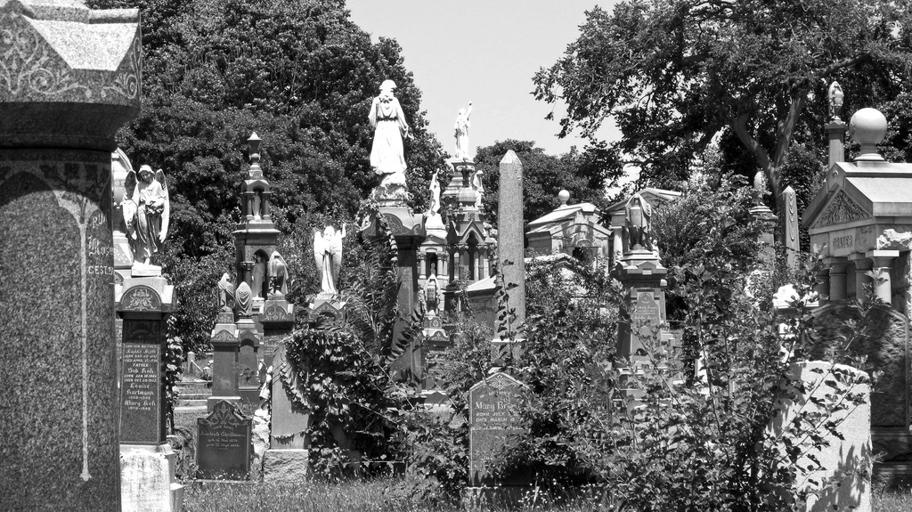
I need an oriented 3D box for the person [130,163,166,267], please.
[{"bbox_3d":[-7.220,-0.975,48.239,0.619,2.374,0.941,-9,-11,42],"label":"person"}]
